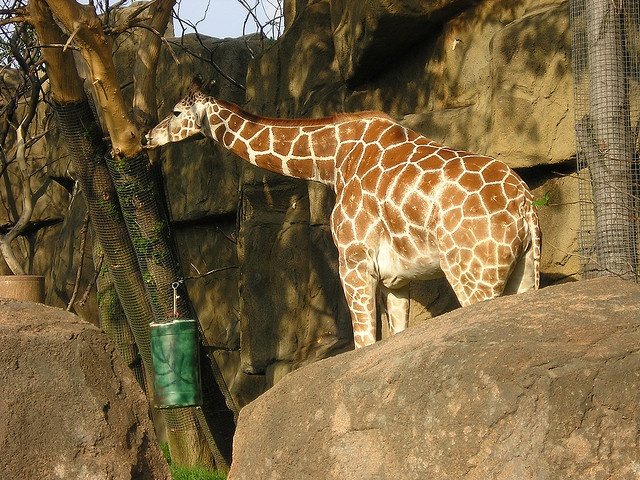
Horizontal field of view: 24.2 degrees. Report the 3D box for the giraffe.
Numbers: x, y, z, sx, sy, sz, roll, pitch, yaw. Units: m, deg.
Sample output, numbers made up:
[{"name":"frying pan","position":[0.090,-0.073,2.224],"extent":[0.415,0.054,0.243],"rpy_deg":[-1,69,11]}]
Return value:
[{"name":"giraffe","position":[0.381,-0.286,12.143],"extent":[2.789,2.200,0.648],"rpy_deg":[-9,-1,35]}]
